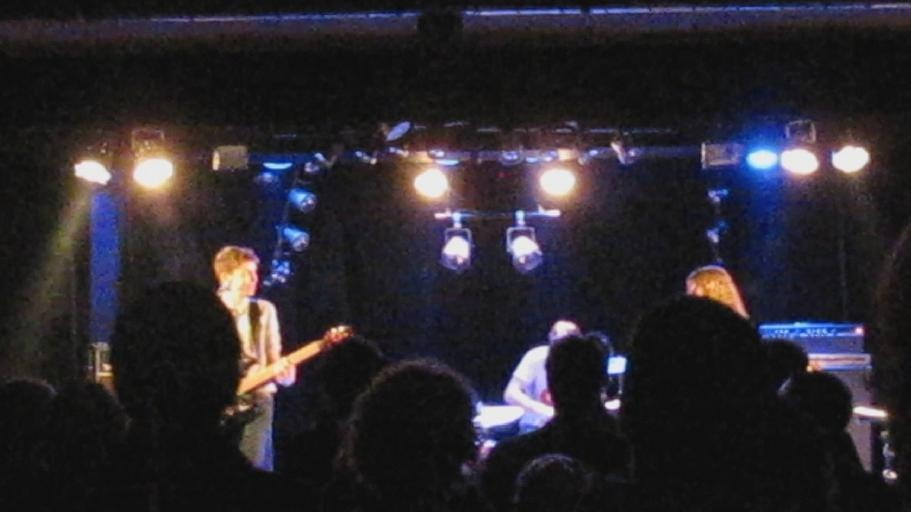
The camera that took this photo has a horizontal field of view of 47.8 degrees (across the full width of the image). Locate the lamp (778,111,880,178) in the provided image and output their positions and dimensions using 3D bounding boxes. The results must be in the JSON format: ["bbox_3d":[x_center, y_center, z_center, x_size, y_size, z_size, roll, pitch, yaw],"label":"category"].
[{"bbox_3d":[2.254,-0.634,6.246,0.164,0.268,0.404,-1,3,-37],"label":"lamp"}]

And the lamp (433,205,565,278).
[{"bbox_3d":[0.307,-0.133,7.880,0.994,0.467,0.259,-3,13,-21],"label":"lamp"}]
